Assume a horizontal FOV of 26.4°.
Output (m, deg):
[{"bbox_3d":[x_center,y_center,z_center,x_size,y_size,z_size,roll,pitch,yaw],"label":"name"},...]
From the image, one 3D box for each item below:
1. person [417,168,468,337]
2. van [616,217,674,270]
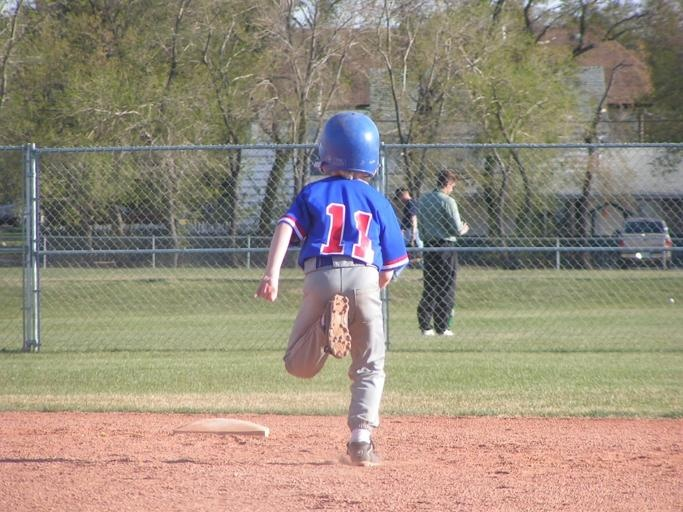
[{"bbox_3d":[2.271,-0.070,33.625,1.077,3.815,1.261,-1,1,2],"label":"person"},{"bbox_3d":[8.683,-0.462,41.767,1.531,1.345,2.983,1,5,11],"label":"van"}]
